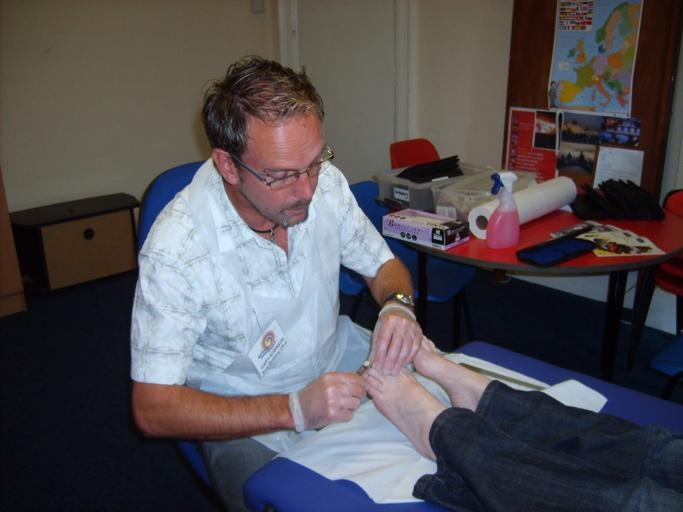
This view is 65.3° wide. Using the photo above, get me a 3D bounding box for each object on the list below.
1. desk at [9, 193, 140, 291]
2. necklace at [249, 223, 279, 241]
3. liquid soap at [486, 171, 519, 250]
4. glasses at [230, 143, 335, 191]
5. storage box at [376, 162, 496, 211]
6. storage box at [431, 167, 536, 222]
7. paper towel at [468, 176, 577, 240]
[{"bbox_3d":[-1.733,-0.087,3.549,0.745,0.509,0.317,-16,19,-37],"label":"desk"},{"bbox_3d":[-0.226,-0.069,1.632,0.052,0.032,0.051,5,22,24],"label":"necklace"},{"bbox_3d":[0.656,-0.186,2.133,0.155,0.298,0.124,-4,14,-1],"label":"liquid soap"},{"bbox_3d":[-0.181,-0.239,1.491,0.241,0.099,0.091,-8,16,-14],"label":"glasses"},{"bbox_3d":[0.436,-0.364,2.610,0.404,0.132,0.279,-23,32,-38],"label":"storage box"},{"bbox_3d":[0.642,-0.311,2.456,0.239,0.134,0.398,17,31,42],"label":"storage box"},{"bbox_3d":[0.855,-0.242,2.405,0.738,0.235,0.202,-16,26,-35],"label":"paper towel"}]
